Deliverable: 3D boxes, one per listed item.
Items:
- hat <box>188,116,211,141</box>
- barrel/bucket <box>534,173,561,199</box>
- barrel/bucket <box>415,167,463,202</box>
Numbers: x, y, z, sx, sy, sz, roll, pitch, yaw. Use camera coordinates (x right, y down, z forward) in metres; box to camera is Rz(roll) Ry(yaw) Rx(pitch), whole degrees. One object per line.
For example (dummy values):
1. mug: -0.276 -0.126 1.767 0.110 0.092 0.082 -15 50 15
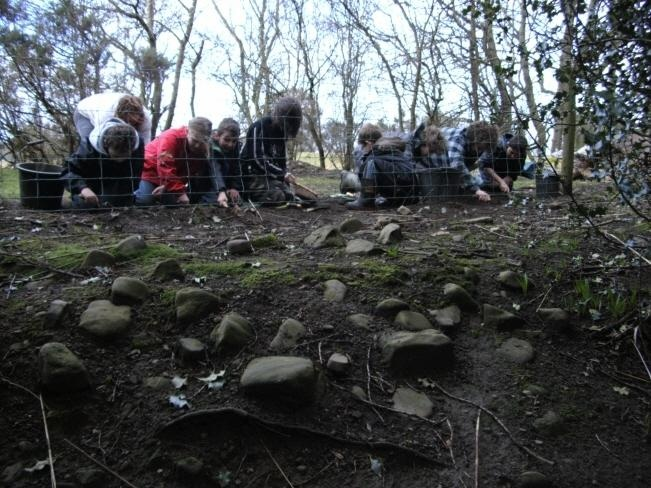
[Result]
1. hat: -1.493 -1.393 5.507 0.278 0.265 0.179 -3 8 -15
2. barrel/bucket: 2.939 -0.782 6.153 0.354 0.301 0.350 -1 7 0
3. barrel/bucket: 1.519 -0.806 6.090 0.516 0.321 0.500 -1 10 0
